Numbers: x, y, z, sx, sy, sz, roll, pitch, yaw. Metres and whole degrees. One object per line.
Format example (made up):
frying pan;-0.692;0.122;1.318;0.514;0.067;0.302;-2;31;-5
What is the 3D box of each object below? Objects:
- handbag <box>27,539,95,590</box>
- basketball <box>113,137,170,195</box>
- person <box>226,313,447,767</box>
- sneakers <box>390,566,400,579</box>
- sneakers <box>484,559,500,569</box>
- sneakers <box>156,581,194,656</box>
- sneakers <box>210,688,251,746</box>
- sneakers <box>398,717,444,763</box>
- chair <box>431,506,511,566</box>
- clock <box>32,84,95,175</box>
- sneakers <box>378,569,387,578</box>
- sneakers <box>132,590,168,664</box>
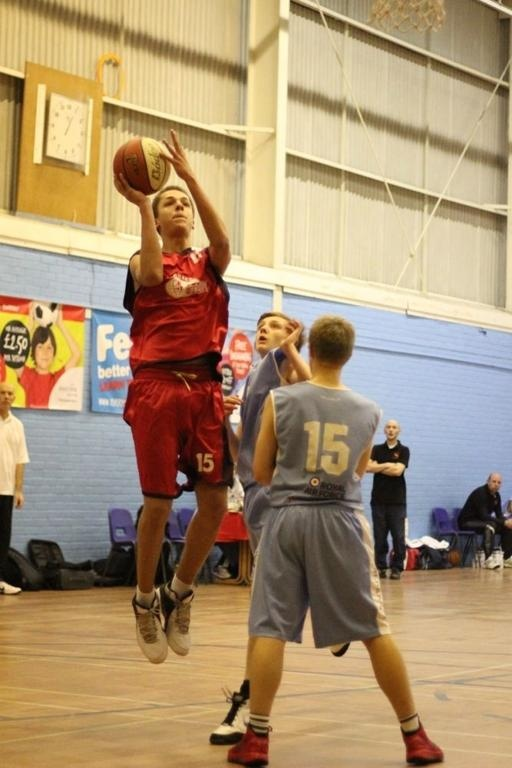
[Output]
handbag;-2.282;2.067;8.111;0.493;0.513;0.664;9;-11;-44
basketball;-0.423;-0.776;2.548;0.198;0.223;0.203;7;-1;-21
person;0.210;0.378;1.794;0.466;1.090;0.436;6;-1;-1
sneakers;1.963;2.637;9.891;0.069;0.099;0.231;4;-40;14
sneakers;4.075;3.069;12.079;0.146;0.090;0.218;-7;-26;18
sneakers;-0.296;0.879;2.762;0.095;0.351;0.141;-7;-8;-30
sneakers;-0.066;0.894;1.902;0.050;0.108;0.162;1;-3;23
sneakers;0.391;0.839;1.671;0.049;0.118;0.114;-10;-12;24
chair;3.966;2.820;12.884;1.069;1.672;1.055;-6;-9;40
clock;-2.505;-3.251;9.185;0.841;0.906;0.102;12;15;9
sneakers;1.837;2.727;10.166;0.137;0.146;0.128;4;-8;-30
sneakers;-0.418;0.881;2.621;0.089;0.313;0.121;-9;-11;-5
